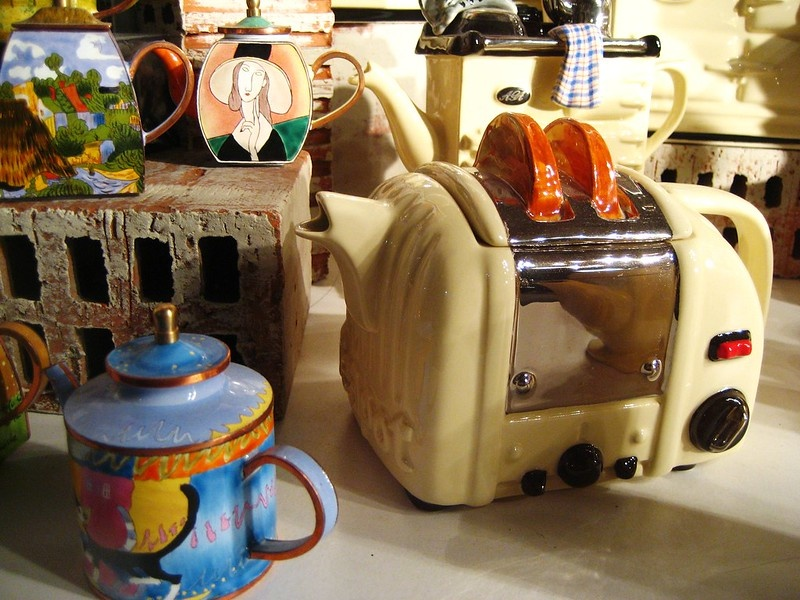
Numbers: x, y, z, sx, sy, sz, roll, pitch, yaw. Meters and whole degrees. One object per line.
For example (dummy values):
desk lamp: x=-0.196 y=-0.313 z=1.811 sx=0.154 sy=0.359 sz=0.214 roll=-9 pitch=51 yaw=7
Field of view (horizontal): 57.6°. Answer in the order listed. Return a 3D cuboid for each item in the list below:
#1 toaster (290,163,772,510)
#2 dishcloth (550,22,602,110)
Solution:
toaster: x=0.157 y=0.024 z=1.031 sx=0.638 sy=0.416 sz=0.409 roll=-6 pitch=27 yaw=-11
dishcloth: x=0.322 y=-0.415 z=1.312 sx=0.091 sy=0.153 sz=0.044 roll=-1 pitch=5 yaw=-14
